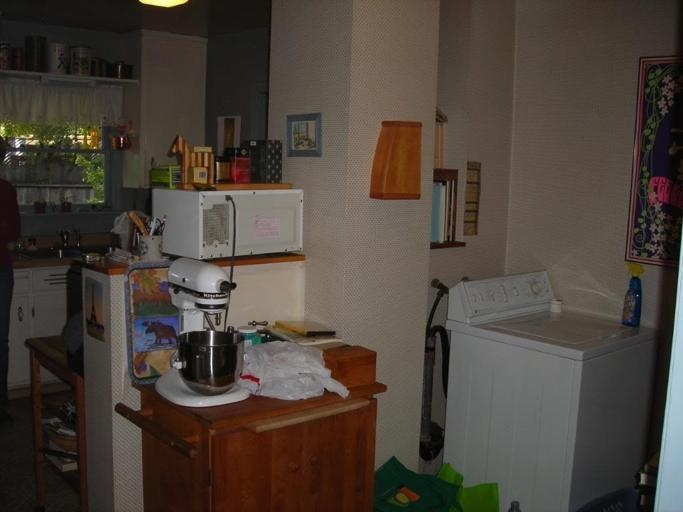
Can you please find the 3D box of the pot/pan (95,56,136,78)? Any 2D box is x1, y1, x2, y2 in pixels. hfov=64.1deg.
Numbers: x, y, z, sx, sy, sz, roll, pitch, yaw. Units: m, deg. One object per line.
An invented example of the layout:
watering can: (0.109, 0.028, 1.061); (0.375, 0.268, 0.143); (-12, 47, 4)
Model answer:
pot/pan: (-2.314, -1.867, 5.462); (0.311, 0.126, 0.205); (1, 1, -41)

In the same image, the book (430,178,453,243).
book: (0.634, -0.293, 3.562); (0.099, 0.391, 0.175); (6, 11, 42)

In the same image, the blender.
blender: (-0.551, 0.281, 2.202); (0.468, 0.522, 0.371); (7, 7, 44)
